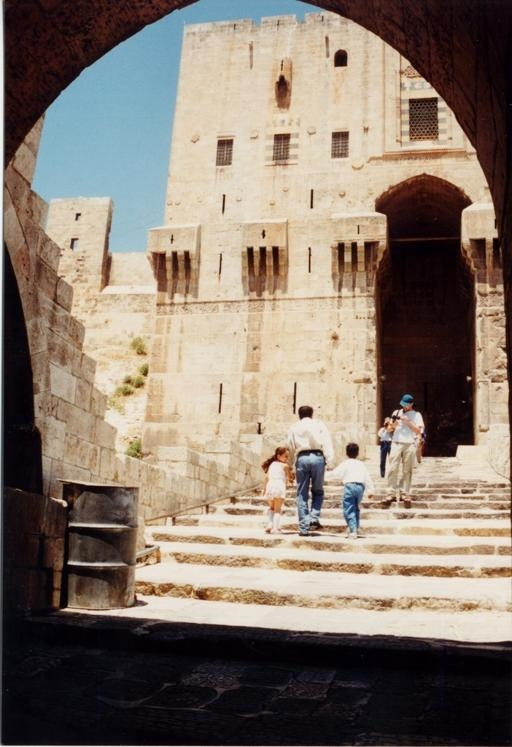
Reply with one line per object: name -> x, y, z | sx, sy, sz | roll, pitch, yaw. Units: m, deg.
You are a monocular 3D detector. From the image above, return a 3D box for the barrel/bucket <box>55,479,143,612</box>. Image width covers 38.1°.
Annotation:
barrel/bucket -> -1.011, 1.115, 4.824 | 0.511, 0.751, 0.517 | 1, -10, 0

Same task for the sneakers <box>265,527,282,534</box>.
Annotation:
sneakers -> 0.177, 1.606, 7.582 | 0.183, 0.080, 0.058 | -11, -19, 25

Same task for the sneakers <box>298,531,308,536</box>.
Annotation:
sneakers -> 0.465, 1.562, 7.229 | 0.092, 0.056, 0.179 | 2, -11, 3

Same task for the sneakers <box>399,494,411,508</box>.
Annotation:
sneakers -> 1.872, 1.604, 9.277 | 0.077, 0.103, 0.239 | -2, -28, 7

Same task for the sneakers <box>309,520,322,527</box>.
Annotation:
sneakers -> 0.602, 1.540, 7.636 | 0.125, 0.090, 0.225 | 7, -13, -3
